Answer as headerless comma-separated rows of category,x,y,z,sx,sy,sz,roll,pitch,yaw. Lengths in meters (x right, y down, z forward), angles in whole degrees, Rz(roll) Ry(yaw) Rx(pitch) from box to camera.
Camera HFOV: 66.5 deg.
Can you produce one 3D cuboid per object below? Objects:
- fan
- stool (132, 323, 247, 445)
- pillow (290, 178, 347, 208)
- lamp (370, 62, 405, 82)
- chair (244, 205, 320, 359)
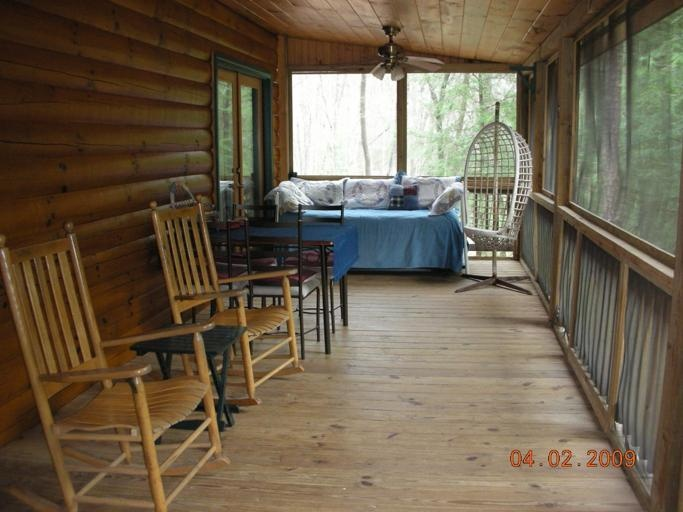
fan,0.526,-2.409,6.016,1.232,0.408,1.046,-9,23,-27
stool,-0.751,0.649,3.030,0.786,0.551,0.677,-2,10,-6
pillow,-0.279,-0.944,7.410,0.922,0.217,0.721,1,28,2
lamp,0.539,-2.129,6.005,0.373,0.096,0.359,4,1,-23
chair,-0.478,0.152,4.082,0.555,0.967,0.553,-2,1,18
